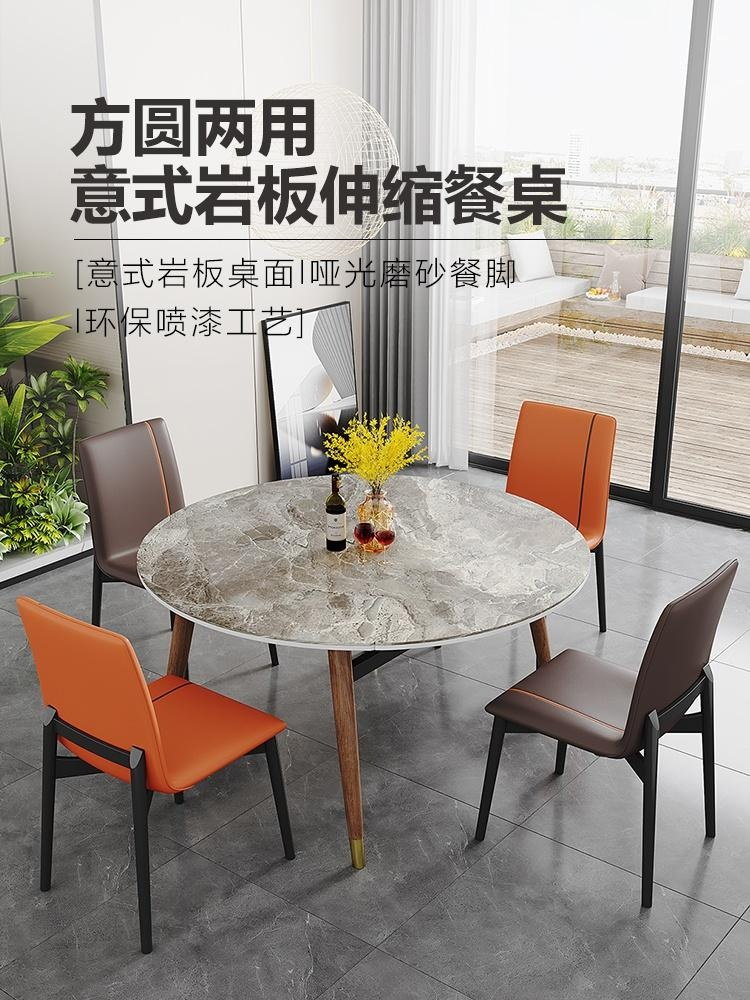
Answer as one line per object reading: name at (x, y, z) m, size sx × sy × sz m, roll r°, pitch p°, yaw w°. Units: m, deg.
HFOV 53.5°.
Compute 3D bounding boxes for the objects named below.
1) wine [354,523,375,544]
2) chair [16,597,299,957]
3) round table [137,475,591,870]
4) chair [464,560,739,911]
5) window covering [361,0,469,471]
wine at (-0.027, 0.090, 2.101) m, size 0.054 × 0.080 × 0.054 m, roll -4°, pitch 23°, yaw -5°
chair at (-0.515, 0.690, 1.774) m, size 0.410 × 0.699 × 0.457 m, roll 21°, pitch 33°, yaw 32°
round table at (-0.096, 0.157, 2.033) m, size 1.050 × 0.585 × 1.058 m, roll -1°, pitch 22°, yaw 0°
chair at (0.544, 0.502, 1.788) m, size 0.438 × 0.795 × 0.470 m, roll -12°, pitch 18°, yaw -43°
window covering at (0.255, -1.602, 4.717) m, size 0.759 × 2.843 × 0.366 m, roll 3°, pitch 13°, yaw 11°
